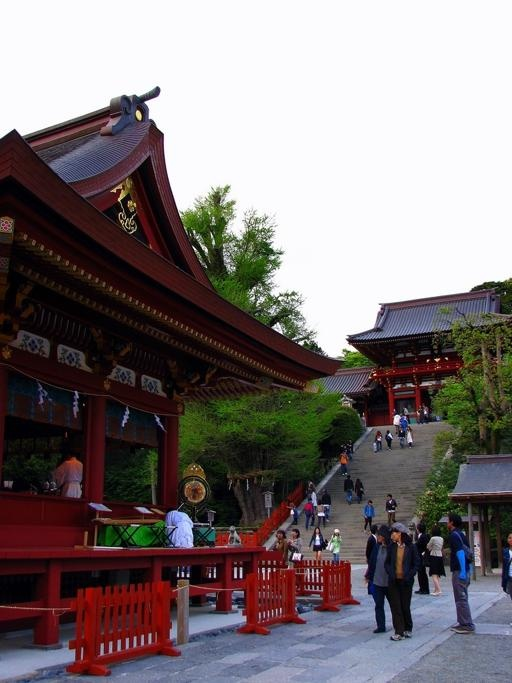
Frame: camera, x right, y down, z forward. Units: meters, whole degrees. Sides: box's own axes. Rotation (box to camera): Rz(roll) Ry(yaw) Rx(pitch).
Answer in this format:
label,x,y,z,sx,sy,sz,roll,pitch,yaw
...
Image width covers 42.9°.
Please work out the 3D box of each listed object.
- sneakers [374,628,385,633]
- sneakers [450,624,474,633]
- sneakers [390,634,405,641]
label,x,y,z,sx,sy,sz,roll,pitch,yaw
sneakers,1.612,3.783,8.519,0.166,0.058,0.051,6,-23,1
sneakers,2.678,3.732,8.482,0.309,0.132,0.108,-2,-15,24
sneakers,1.715,3.609,7.908,0.184,0.074,0.061,3,-41,6
